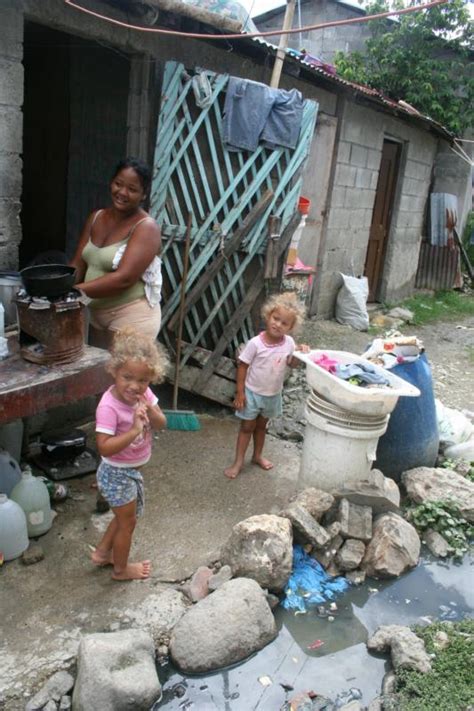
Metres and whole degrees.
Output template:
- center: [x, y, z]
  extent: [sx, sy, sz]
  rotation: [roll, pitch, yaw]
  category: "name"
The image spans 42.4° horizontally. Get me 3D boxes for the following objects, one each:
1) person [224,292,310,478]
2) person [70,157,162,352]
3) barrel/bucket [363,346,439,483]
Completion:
- center: [0.114, 0.145, 4.049]
  extent: [0.609, 1.151, 0.578]
  rotation: [2, 16, -26]
  category: "person"
- center: [-0.653, -0.542, 3.418]
  extent: [0.472, 0.991, 0.465]
  rotation: [4, 26, -41]
  category: "person"
- center: [1.159, 0.337, 4.135]
  extent: [0.553, 0.825, 0.511]
  rotation: [1, 13, 0]
  category: "barrel/bucket"
